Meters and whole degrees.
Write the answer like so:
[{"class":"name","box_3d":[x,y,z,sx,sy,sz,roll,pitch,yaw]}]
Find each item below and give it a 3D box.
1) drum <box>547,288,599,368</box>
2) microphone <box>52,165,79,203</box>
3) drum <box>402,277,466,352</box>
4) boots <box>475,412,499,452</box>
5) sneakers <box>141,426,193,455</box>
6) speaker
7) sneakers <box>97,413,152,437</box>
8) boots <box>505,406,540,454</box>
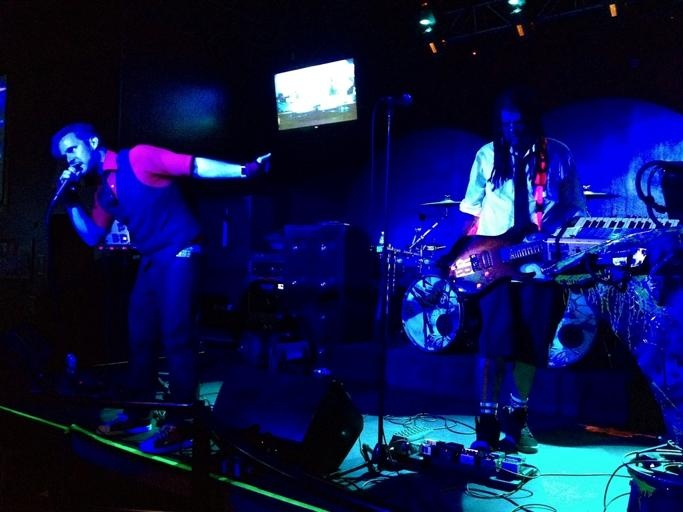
[{"class":"drum","box_3d":[1.748,0.593,5.070,0.248,0.815,0.141,14,7,20]},{"class":"microphone","box_3d":[-2.491,-0.658,6.091,0.108,0.408,0.105,36,3,2]},{"class":"drum","box_3d":[0.774,0.474,5.516,0.252,0.695,0.624,-4,4,-38]},{"class":"boots","box_3d":[1.019,1.251,4.711,0.169,0.241,0.290,5,13,12]},{"class":"sneakers","box_3d":[-1.229,1.293,4.772,0.440,0.161,0.162,-6,40,3]},{"class":"speaker","box_3d":[-0.393,1.077,4.426,0.994,0.574,0.404,5,13,15]},{"class":"sneakers","box_3d":[-1.627,1.283,5.141,0.423,0.166,0.153,10,-13,-24]},{"class":"boots","box_3d":[1.336,1.271,4.963,0.144,0.294,0.422,2,5,-19]}]
